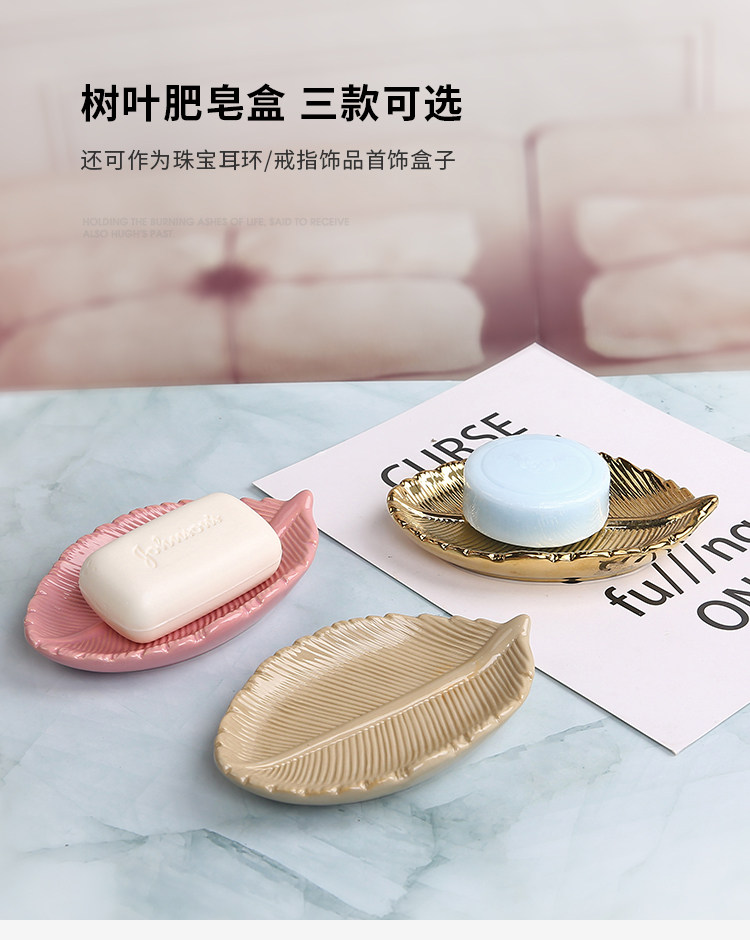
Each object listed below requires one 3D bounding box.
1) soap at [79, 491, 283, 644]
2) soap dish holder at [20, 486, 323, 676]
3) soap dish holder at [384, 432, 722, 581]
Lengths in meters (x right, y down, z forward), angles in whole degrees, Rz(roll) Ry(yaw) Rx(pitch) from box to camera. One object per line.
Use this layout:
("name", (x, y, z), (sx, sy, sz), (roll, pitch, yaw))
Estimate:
("soap", (-0.089, 0.044, 0.470), (0.095, 0.027, 0.058), (-23, 43, -35))
("soap dish holder", (-0.094, 0.043, 0.479), (0.094, 0.026, 0.123), (16, 28, 37))
("soap dish holder", (0.097, 0.002, 0.508), (0.132, 0.021, 0.108), (-9, 17, -29))
